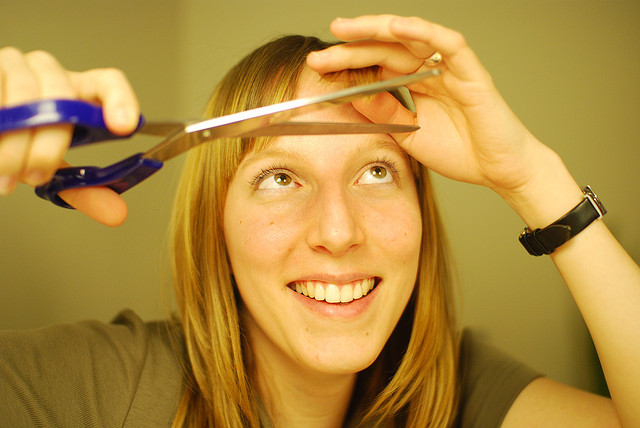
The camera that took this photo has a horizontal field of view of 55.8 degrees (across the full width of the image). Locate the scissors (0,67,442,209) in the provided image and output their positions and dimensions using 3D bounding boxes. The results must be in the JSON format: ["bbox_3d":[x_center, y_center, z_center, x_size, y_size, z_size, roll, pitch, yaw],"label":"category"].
[{"bbox_3d":[-0.306,-0.252,2.099,1.061,0.170,0.354,-17,30,-3],"label":"scissors"}]
